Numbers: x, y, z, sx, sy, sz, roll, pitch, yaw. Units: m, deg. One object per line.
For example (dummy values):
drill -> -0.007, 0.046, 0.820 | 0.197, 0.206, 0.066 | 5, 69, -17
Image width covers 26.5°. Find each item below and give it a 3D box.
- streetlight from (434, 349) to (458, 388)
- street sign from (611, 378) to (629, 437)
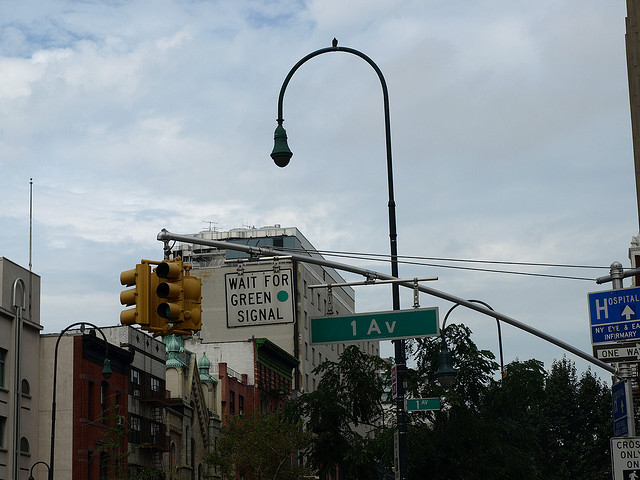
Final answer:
streetlight -> 4.607, 4.791, 50.689 | 0.768, 1.414, 0.861 | -3, -10, 3
street sign -> 9.646, 5.464, 44.039 | 0.466, 1.853, 1.128 | -4, -10, 12
